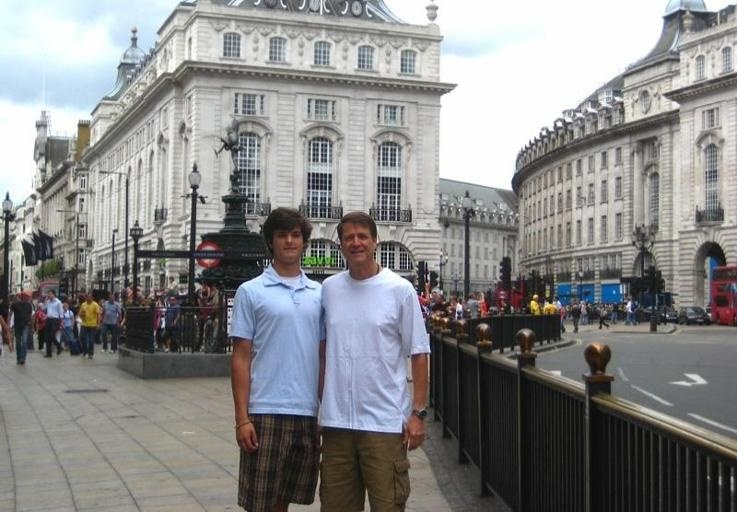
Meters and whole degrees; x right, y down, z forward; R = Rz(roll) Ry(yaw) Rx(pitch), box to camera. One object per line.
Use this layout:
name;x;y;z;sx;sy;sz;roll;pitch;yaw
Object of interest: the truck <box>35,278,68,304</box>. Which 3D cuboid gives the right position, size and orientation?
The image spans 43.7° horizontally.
truck;-20.750;2.216;59.985;1.785;1.883;6.237;1;-5;-20
